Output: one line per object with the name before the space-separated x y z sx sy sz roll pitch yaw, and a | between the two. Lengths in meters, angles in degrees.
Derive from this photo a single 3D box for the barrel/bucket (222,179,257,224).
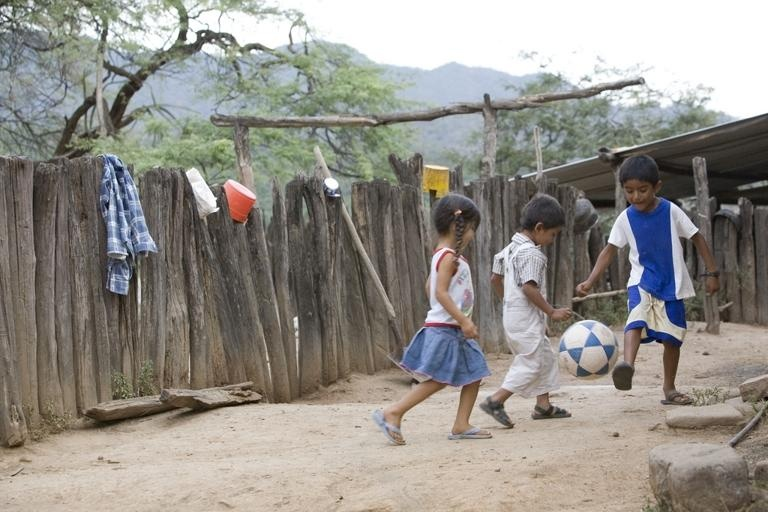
barrel/bucket | -1.744 -0.650 11.790 0.374 0.368 0.300 -5 2 -7

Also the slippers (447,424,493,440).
slippers | 0.926 1.867 10.332 0.417 0.120 0.159 -2 -3 1

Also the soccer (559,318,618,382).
soccer | 2.277 1.057 10.829 0.698 0.683 0.692 -4 18 25

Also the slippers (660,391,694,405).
slippers | 3.234 1.577 10.735 0.247 0.095 0.148 -5 -2 23

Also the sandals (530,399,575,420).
sandals | 1.838 1.710 10.728 0.442 0.163 0.167 -2 2 -1

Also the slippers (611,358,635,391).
slippers | 2.519 1.271 10.278 0.171 0.354 0.152 1 19 14

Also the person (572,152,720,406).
person | 2.997 0.274 10.770 1.274 2.765 0.578 -4 3 12

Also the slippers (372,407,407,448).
slippers | 0.012 1.821 10.200 0.138 0.495 0.196 -22 21 31
